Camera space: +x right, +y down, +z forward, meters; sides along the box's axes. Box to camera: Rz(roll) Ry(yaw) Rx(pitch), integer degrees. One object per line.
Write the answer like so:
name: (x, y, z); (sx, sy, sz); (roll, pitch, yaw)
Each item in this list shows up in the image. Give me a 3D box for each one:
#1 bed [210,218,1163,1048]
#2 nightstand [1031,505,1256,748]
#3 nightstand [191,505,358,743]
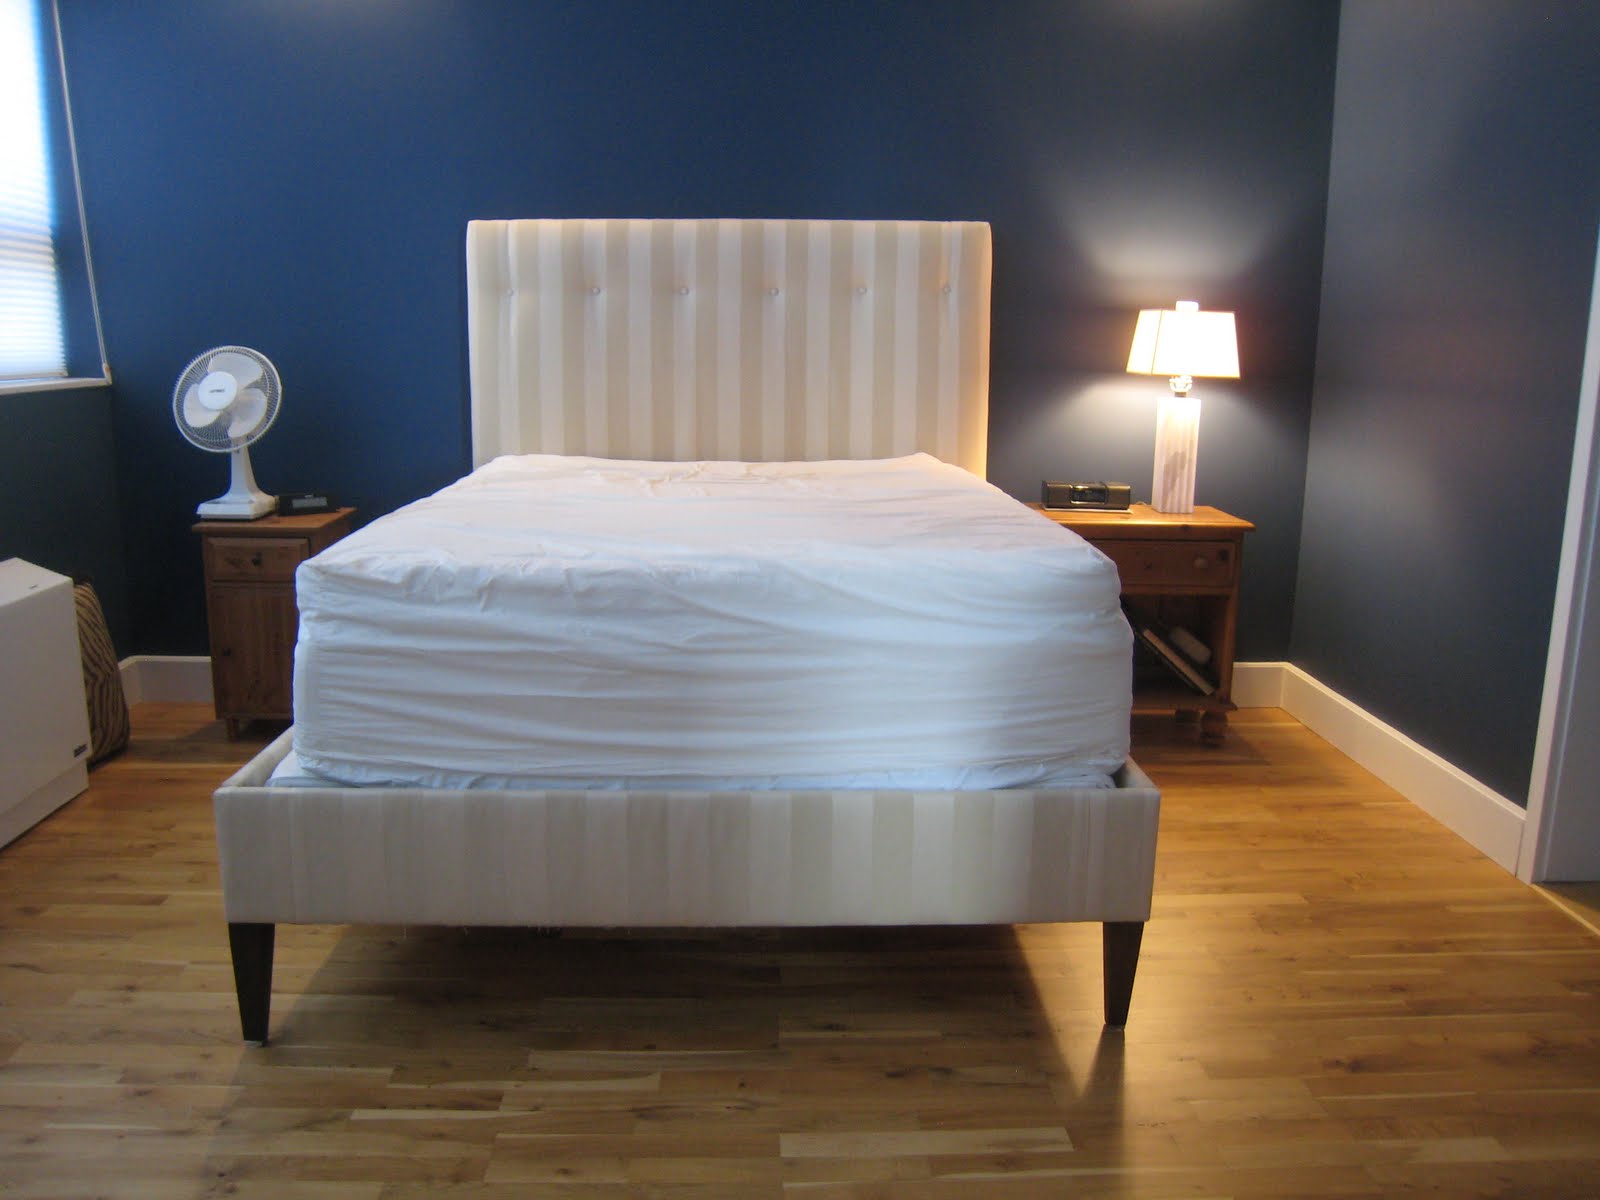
bed: (-0.317, -0.158, 3.994); (2.204, 1.910, 2.176); (0, 15, -2)
nightstand: (1.204, 0.084, 4.851); (0.727, 0.739, 0.495); (4, 7, 3)
nightstand: (-2.040, 0.140, 4.721); (0.506, 0.707, 0.471); (-3, -4, -34)
